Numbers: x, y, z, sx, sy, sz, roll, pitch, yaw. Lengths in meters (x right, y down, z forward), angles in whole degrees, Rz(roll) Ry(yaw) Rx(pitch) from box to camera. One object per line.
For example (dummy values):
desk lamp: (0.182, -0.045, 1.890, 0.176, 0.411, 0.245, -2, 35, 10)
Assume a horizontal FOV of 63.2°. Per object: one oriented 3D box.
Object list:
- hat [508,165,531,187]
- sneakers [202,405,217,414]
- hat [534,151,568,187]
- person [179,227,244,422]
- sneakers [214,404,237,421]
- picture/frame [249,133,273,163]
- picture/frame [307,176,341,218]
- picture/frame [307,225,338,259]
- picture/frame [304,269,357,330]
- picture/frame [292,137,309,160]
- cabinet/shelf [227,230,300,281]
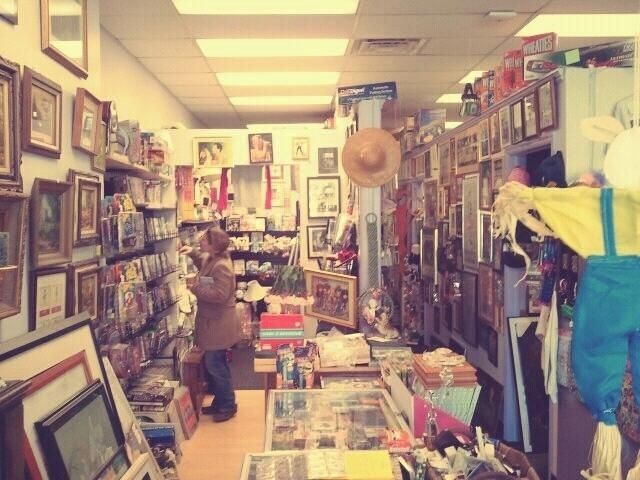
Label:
hat: (1.847, -0.613, 4.828, 0.179, 0.176, 0.335, 0, 3, 10)
sneakers: (-1.181, 1.820, 5.596, 0.140, 0.067, 0.081, 5, 0, 2)
hat: (1.857, -0.577, 4.176, 0.214, 0.289, 0.198, 0, 3, 16)
person: (-1.159, 0.870, 5.536, 0.550, 2.009, 0.797, -2, 3, -16)
sneakers: (-0.984, 1.806, 5.458, 0.099, 0.120, 0.260, -3, -6, 32)
picture/frame: (-0.821, -1.305, 7.260, 0.363, 0.478, 0.062, -1, 3, 1)
picture/frame: (0.036, -0.628, 7.273, 0.531, 0.730, 0.046, -1, 3, -1)
picture/frame: (0.043, -0.003, 7.003, 0.406, 0.526, 0.021, -1, 0, 11)
picture/frame: (0.125, 0.615, 5.617, 0.673, 0.619, 0.052, 2, 3, 41)
picture/frame: (-0.269, -1.302, 7.253, 0.280, 0.388, 0.039, 0, 1, -1)
cabinet/shelf: (-0.872, 0.205, 8.015, 0.732, 0.782, 0.226, 0, 2, -1)
